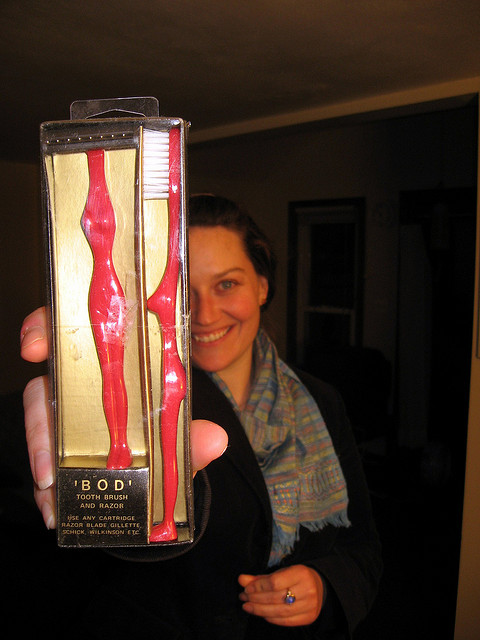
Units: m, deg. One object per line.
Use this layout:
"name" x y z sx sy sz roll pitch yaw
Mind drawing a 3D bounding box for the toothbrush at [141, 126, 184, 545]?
"toothbrush" -0.070 0.016 0.525 0.036 0.386 0.020 0 4 -8

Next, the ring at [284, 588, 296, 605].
"ring" 0.071 0.387 0.798 0.012 0.019 0.008 -6 -8 -8

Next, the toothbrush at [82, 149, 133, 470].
"toothbrush" -0.122 -0.010 0.518 0.046 0.289 0.020 2 4 22
